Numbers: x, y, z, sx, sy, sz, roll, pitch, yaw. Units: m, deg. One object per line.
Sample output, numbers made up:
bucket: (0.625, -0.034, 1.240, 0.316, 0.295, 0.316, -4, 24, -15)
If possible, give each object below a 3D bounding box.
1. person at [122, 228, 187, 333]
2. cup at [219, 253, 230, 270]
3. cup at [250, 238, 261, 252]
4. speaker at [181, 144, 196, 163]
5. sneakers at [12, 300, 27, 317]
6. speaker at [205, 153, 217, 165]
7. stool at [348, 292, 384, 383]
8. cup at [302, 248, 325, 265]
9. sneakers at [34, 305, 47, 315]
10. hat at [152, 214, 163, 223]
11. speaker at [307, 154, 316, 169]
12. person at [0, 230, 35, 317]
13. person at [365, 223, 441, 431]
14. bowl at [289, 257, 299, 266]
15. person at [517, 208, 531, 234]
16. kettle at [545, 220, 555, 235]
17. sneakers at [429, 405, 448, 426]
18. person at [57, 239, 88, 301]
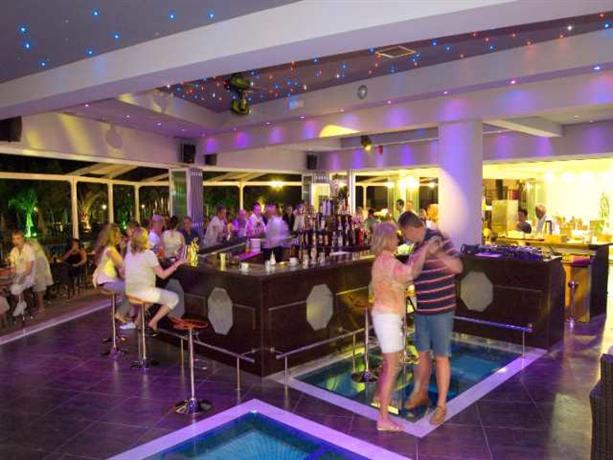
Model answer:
person: (-2.054, 0.671, 6.191, 0.690, 1.422, 0.334, -3, 10, -14)
cup: (-1.170, 0.440, 6.645, 0.131, 0.240, 0.133, 1, 8, 0)
cup: (-0.884, 0.248, 7.839, 0.250, 0.231, 0.121, 8, 13, 42)
speaker: (-3.019, -1.956, 11.873, 0.154, 0.480, 0.482, 1, 3, 27)
sneakers: (-4.949, 1.344, 8.085, 0.409, 0.298, 0.167, 8, 13, 39)
speaker: (-2.502, -1.855, 12.246, 0.324, 0.303, 0.237, -5, 11, -21)
stool: (0.778, 1.408, 5.938, 0.421, 0.941, 0.418, -4, -7, 13)
cup: (0.091, 0.370, 6.726, 0.225, 0.202, 0.234, 0, 2, 0)
sneakers: (-5.069, 1.514, 8.905, 0.287, 0.210, 0.100, 7, 8, 24)
hat: (-2.475, -0.208, 7.786, 0.113, 0.124, 0.154, 11, 16, 31)
speaker: (0.204, -2.189, 15.001, 0.369, 0.489, 0.232, -1, 10, -4)
person: (-4.970, 0.810, 8.160, 0.424, 1.573, 0.859, -5, 10, -24)
person: (0.934, 0.993, 4.757, 0.543, 2.058, 0.415, 1, 9, 9)
bowl: (-0.178, 0.421, 6.344, 0.094, 0.078, 0.098, 0, 0, 0)
person: (4.821, -0.244, 10.296, 0.270, 0.468, 1.245, 4, 11, 25)
kettle: (4.802, -0.066, 9.231, 0.159, 0.241, 0.326, 4, 11, 27)
sneakers: (1.394, 1.928, 4.904, 0.109, 0.170, 0.240, -3, 0, 33)
person: (-5.232, 0.789, 10.328, 0.628, 1.234, 0.538, 6, -7, -33)
